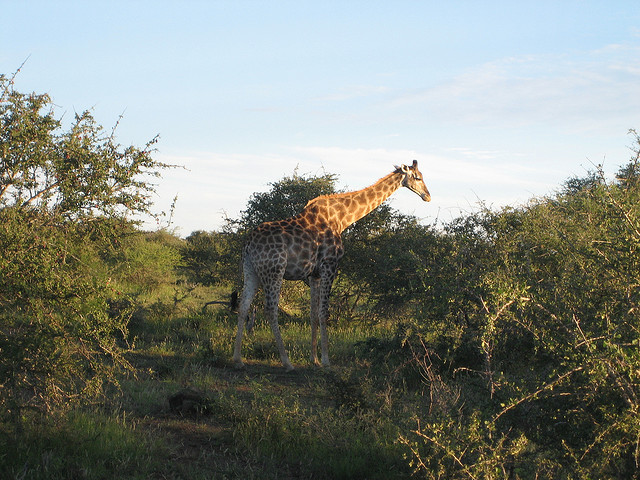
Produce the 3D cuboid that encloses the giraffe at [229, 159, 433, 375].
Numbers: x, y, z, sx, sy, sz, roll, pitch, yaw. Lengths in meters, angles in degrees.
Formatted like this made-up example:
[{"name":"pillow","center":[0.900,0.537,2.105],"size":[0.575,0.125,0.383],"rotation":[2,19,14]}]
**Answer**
[{"name":"giraffe","center":[-0.177,0.466,14.994],"size":[1.638,3.299,4.099],"rotation":[3,6,41]}]
